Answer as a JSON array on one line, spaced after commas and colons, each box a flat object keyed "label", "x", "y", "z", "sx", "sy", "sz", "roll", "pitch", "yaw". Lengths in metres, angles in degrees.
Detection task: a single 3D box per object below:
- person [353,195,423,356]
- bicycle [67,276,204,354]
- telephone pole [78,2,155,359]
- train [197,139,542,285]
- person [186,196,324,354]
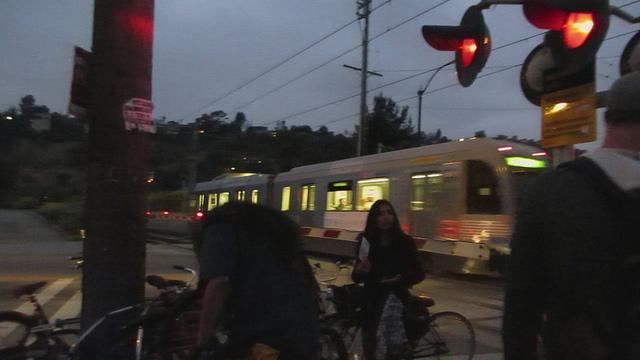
[{"label": "person", "x": 0.778, "y": 1.119, "z": 5.155, "sx": 0.767, "sy": 1.756, "sz": 0.261, "roll": 1, "pitch": -3, "yaw": 10}, {"label": "bicycle", "x": -1.621, "y": 1.116, "z": 3.954, "sx": 0.905, "sy": 0.636, "sz": 1.654, "roll": 2, "pitch": -3, "yaw": -22}, {"label": "telephone pole", "x": -2.171, "y": -0.183, "z": 4.828, "sx": 0.644, "sy": 3.626, "sz": 0.296, "roll": 3, "pitch": -3, "yaw": -19}, {"label": "train", "x": 0.704, "y": 1.050, "z": 17.404, "sx": 2.749, "sy": 2.787, "sz": 15.965, "roll": 9, "pitch": -9, "yaw": -36}, {"label": "person", "x": -0.506, "y": 0.789, "z": 3.620, "sx": 0.997, "sy": 1.244, "sz": 0.372, "roll": 3, "pitch": -3, "yaw": -19}]
